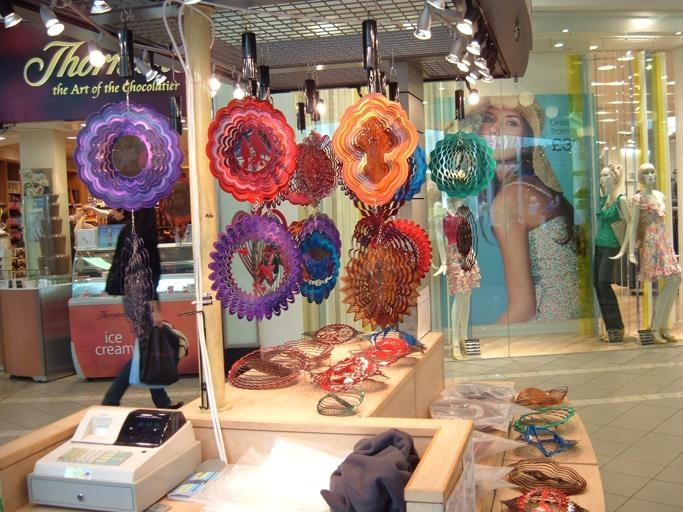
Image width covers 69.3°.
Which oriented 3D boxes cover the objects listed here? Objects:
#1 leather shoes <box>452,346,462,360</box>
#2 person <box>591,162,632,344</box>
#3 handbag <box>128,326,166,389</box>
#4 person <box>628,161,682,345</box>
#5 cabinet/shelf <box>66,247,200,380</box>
[{"bbox_3d":[1.539,1.287,6.557,0.140,0.186,0.161,-1,0,-5],"label":"leather shoes"},{"bbox_3d":[3.768,-0.037,6.852,0.543,2.473,0.142,-5,5,-17],"label":"person"},{"bbox_3d":[-1.714,0.946,4.250,0.335,0.436,0.261,-6,-5,27],"label":"handbag"},{"bbox_3d":[4.382,-0.037,6.970,0.890,2.570,0.373,-5,5,-22],"label":"person"},{"bbox_3d":[-2.525,0.644,6.366,1.752,1.565,0.996,-5,9,3],"label":"cabinet/shelf"}]
